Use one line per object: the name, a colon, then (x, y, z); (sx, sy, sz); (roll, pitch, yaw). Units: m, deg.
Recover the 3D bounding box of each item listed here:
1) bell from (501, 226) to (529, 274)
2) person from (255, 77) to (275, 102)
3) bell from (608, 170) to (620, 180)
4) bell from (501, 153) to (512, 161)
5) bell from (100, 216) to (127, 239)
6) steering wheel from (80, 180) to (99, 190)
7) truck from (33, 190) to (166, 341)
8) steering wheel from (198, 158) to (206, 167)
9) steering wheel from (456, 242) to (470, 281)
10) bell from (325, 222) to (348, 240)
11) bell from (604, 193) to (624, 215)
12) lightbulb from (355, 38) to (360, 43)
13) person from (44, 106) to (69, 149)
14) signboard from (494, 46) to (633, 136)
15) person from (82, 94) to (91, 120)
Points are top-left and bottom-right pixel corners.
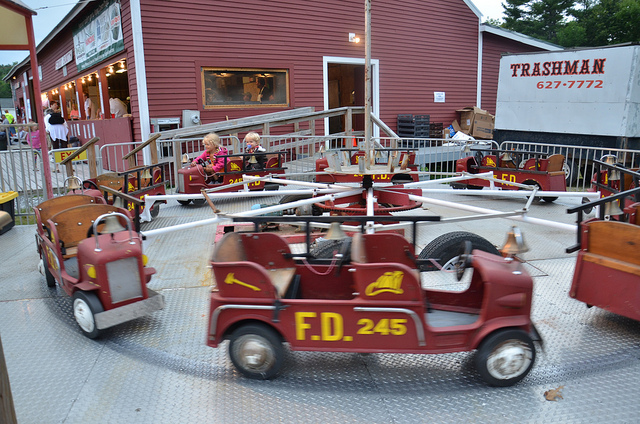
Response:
bell: (1.876, 0.305, 4.500); (0.223, 0.293, 0.179); (-13, 17, -36)
person: (-1.842, -4.014, 15.268); (0.293, 0.762, 0.547); (13, 38, 30)
bell: (5.188, -0.640, 8.230); (0.197, 0.195, 0.185); (-4, 12, -9)
bell: (4.160, -1.211, 10.340); (0.155, 0.095, 0.155); (-1, 22, 6)
bell: (-2.238, 0.166, 5.045); (0.202, 0.192, 0.190); (11, 18, 39)
steering wheel: (-3.774, -0.444, 7.634); (0.256, 0.059, 0.259); (5, -5, 0)
truck: (-2.686, 0.601, 5.614); (0.927, 1.348, 1.818); (-15, 18, -40)
steering wheel: (-2.506, -1.033, 9.846); (0.150, 0.163, 0.349); (-6, 14, -14)
steering wheel: (1.463, 0.492, 4.789); (0.123, 0.402, 0.472); (1, 14, 16)
bell: (0.139, 0.184, 4.425); (0.156, 0.093, 0.158); (8, 15, 40)
bell: (3.210, -0.096, 5.163); (0.216, 0.219, 0.211); (1, 22, 23)
lightbulb: (1.339, -6.184, 16.853); (0.058, 0.161, 0.240); (8, 17, 38)
person: (-10.268, -3.257, 18.135); (0.710, 1.551, 1.525); (-11, 15, -28)
signboard: (7.056, -3.462, 13.624); (3.438, 2.402, 0.577); (10, 19, 42)
person: (-9.741, -4.274, 19.481); (0.323, 0.830, 1.279); (-10, 15, -25)
